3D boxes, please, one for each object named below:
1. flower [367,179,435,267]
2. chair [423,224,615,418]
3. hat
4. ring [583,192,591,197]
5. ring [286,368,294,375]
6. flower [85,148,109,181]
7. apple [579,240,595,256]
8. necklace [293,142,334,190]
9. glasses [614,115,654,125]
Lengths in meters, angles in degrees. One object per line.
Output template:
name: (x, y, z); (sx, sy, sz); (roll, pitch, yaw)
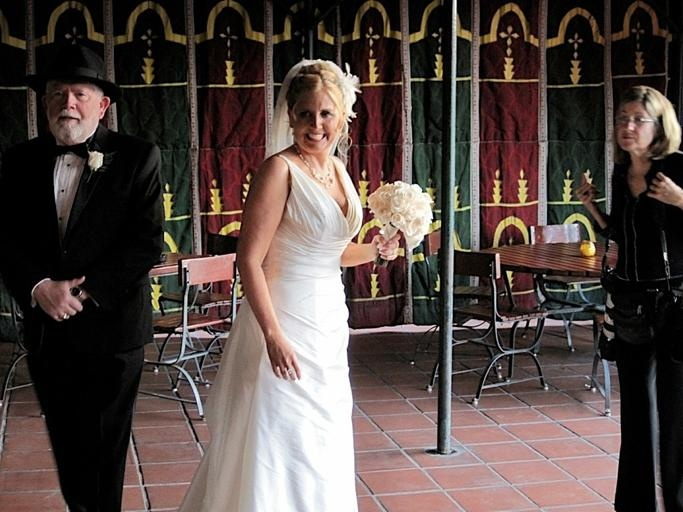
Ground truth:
flower: (0.312, -0.207, 3.465); (0.326, 0.348, 0.332); (-24, 39, -34)
chair: (1.706, 0.416, 6.325); (1.756, 1.215, 1.496); (-6, 8, -41)
hat: (-1.263, -0.899, 3.298); (0.346, 0.258, 0.204); (-4, 11, -26)
ring: (1.404, -0.357, 3.857); (0.028, 0.030, 0.011); (3, -19, 14)
ring: (-0.227, 0.512, 3.014); (0.023, 0.031, 0.013); (-6, 1, -20)
flower: (-1.190, -0.446, 3.299); (0.084, 0.132, 0.081); (15, -3, -7)
apple: (2.293, -0.064, 6.284); (0.142, 0.145, 0.149); (7, 16, 20)
necklace: (-0.115, -0.405, 3.206); (0.047, 0.217, 0.163); (-26, 6, 36)
glasses: (1.520, -0.710, 3.492); (0.173, 0.042, 0.053); (5, 11, 25)
